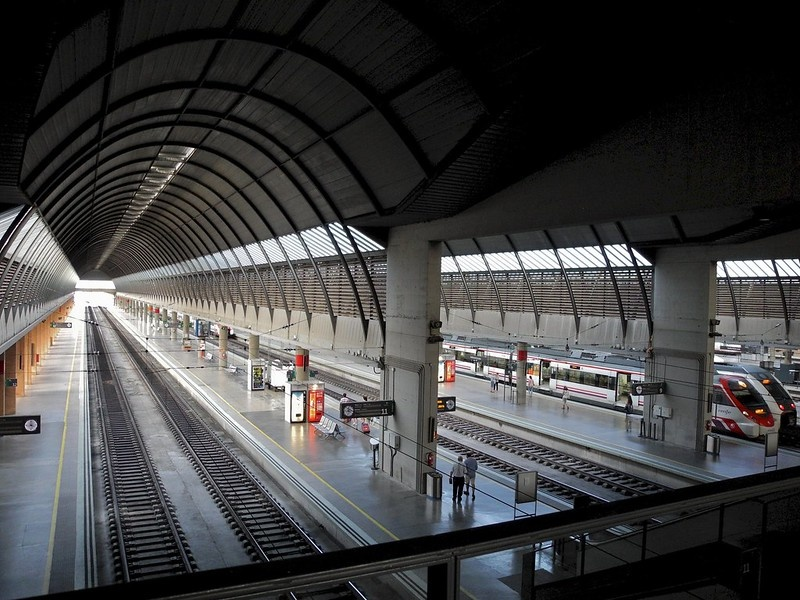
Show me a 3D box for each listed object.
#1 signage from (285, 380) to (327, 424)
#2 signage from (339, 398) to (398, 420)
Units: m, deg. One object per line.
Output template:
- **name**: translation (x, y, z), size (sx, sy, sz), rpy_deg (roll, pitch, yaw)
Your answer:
- **signage**: translation (-5.785, 6.053, 29.324), size (1.225, 2.261, 2.502), rpy_deg (-9, -14, 38)
- **signage**: translation (-1.278, 4.524, 20.513), size (2.829, 0.873, 0.475), rpy_deg (-1, 5, -31)
